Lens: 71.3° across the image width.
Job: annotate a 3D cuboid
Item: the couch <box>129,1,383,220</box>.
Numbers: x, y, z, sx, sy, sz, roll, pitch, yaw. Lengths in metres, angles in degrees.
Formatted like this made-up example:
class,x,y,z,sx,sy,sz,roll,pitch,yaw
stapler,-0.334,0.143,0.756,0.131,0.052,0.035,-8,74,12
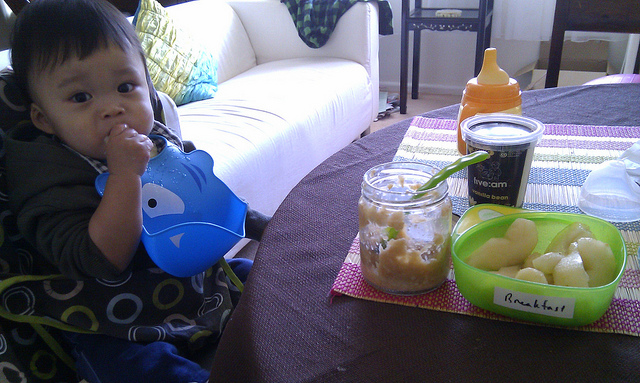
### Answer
class,x,y,z,sx,sy,sz,roll,pitch,yaw
couch,-0.241,-0.340,1.714,0.518,0.474,1.117,5,38,29

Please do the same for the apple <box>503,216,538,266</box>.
class,x,y,z,sx,sy,sz,roll,pitch,yaw
apple,0.341,0.087,0.753,0.065,0.069,0.024,22,0,0

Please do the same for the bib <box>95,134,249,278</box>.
class,x,y,z,sx,sy,sz,roll,pitch,yaw
bib,-0.368,0.026,1.060,0.309,0.187,0.389,-10,45,-37

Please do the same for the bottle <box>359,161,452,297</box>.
class,x,y,z,sx,sy,sz,roll,pitch,yaw
bottle,0.142,0.070,0.812,0.188,0.183,0.133,-1,16,7

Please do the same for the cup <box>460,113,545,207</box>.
class,x,y,z,sx,sy,sz,roll,pitch,yaw
cup,0.377,-0.037,0.940,0.169,0.162,0.155,-2,14,1
